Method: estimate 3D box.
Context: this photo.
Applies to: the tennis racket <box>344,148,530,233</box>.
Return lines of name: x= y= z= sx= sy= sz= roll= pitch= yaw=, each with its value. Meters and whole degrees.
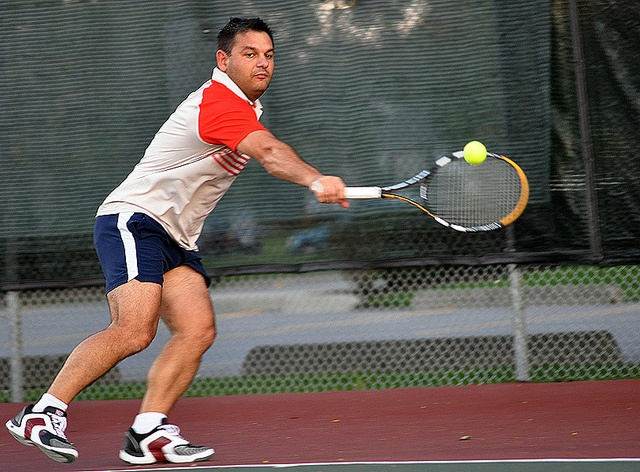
tennis racket: x=0.846 y=-0.236 z=4.982 sx=0.635 sy=0.460 sz=0.941 roll=-4 pitch=4 yaw=12

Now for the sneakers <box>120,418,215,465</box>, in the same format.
sneakers: x=-0.819 y=1.097 z=4.748 sx=0.653 sy=0.208 sz=0.189 roll=1 pitch=-8 yaw=-7

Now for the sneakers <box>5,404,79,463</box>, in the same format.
sneakers: x=-1.375 y=0.985 z=4.395 sx=0.303 sy=0.334 sz=0.176 roll=-7 pitch=5 yaw=-16

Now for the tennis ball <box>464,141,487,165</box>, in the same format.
tennis ball: x=0.851 y=-0.451 z=4.847 sx=0.126 sy=0.113 sz=0.232 roll=-5 pitch=4 yaw=9
